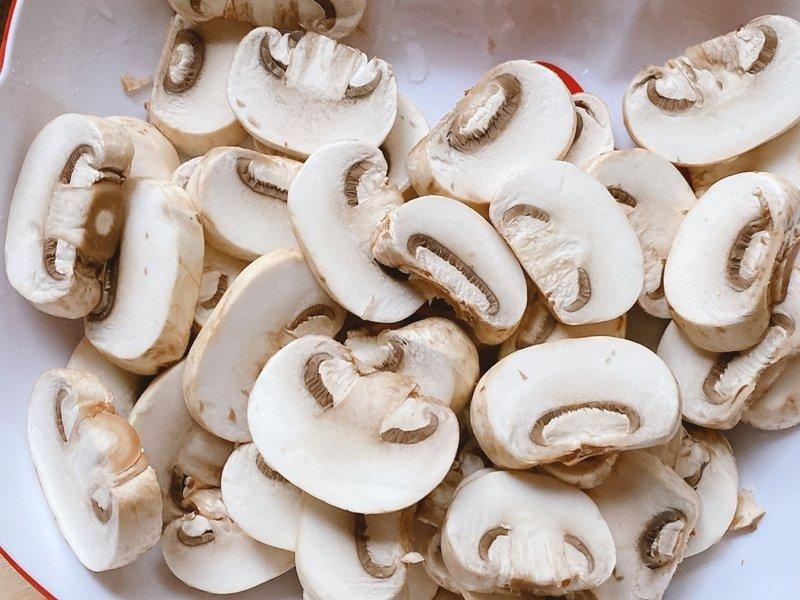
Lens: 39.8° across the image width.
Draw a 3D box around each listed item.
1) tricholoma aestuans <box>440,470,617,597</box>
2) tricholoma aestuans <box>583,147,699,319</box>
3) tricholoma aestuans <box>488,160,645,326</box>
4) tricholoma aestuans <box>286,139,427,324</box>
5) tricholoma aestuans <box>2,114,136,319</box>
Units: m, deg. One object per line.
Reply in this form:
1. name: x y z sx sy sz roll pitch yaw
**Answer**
1. tricholoma aestuans: 0.178 0.325 1.537 0.195 0.066 0.180 6 82 3
2. tricholoma aestuans: 0.380 -0.108 1.716 0.156 0.054 0.248 -21 89 -5
3. tricholoma aestuans: 0.246 -0.090 1.570 0.160 0.047 0.256 -40 83 -4
4. tricholoma aestuans: -0.073 -0.099 1.592 0.173 0.055 0.266 -12 88 -32
5. tricholoma aestuans: -0.483 -0.127 1.604 0.160 0.068 0.284 9 82 3
